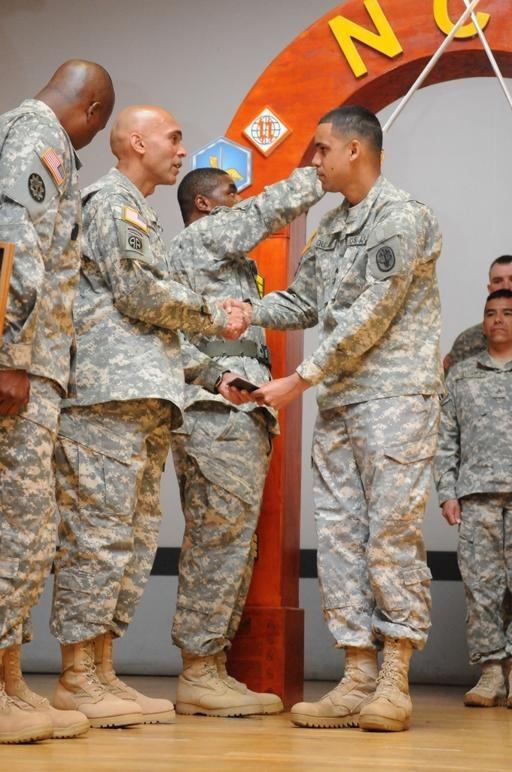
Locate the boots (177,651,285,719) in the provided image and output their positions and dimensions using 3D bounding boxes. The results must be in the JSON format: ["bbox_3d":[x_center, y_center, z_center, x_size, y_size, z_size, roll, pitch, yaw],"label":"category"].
[{"bbox_3d":[-0.022,0.840,2.320,0.379,0.202,0.132,-2,-12,13],"label":"boots"}]
